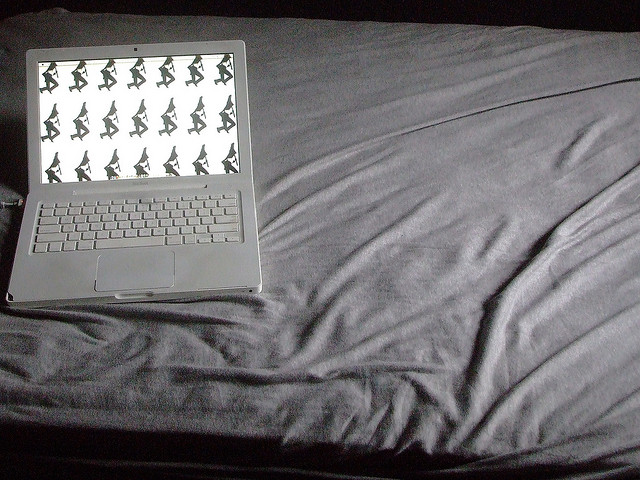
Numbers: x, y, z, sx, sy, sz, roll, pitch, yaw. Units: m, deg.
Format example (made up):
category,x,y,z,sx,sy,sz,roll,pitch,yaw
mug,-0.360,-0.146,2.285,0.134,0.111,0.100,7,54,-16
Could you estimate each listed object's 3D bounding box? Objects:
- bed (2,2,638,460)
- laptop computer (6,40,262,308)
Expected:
category,x,y,z,sx,sy,sz,roll,pitch,yaw
bed,0.076,-0.105,1.316,1.505,0.870,0.768,-1,10,2
laptop computer,-0.410,-0.157,1.378,0.555,0.562,0.364,-2,14,-4
